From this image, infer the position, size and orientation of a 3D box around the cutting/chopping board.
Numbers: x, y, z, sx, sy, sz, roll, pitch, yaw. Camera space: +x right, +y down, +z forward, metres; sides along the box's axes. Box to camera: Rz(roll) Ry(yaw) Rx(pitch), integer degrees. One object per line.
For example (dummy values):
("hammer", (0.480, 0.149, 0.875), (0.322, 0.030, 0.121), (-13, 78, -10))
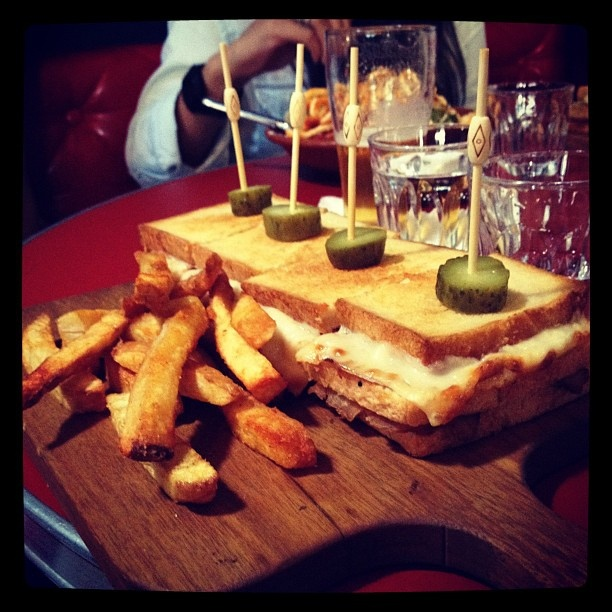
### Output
("cutting/chopping board", (-0.021, 0.270, 1.117), (0.669, 0.037, 0.550), (-4, 26, -10))

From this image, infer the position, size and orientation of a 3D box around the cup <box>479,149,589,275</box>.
("cup", (0.620, -0.228, 1.591), (0.263, 0.343, 0.278), (-8, 25, 4))

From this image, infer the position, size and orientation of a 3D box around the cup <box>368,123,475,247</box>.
("cup", (0.379, -0.399, 1.909), (0.291, 0.408, 0.333), (-3, 25, 9))
